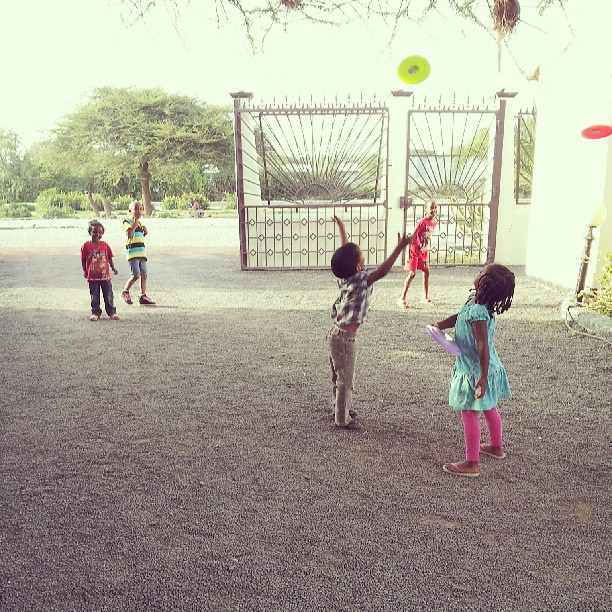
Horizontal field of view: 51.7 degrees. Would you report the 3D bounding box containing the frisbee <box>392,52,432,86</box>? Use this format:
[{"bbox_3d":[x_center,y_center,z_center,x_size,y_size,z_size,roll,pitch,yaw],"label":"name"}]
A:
[{"bbox_3d":[0.990,-2.233,5.850,0.283,0.279,0.325,0,11,2],"label":"frisbee"}]

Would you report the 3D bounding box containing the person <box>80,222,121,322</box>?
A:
[{"bbox_3d":[-2.365,-0.419,7.290,0.394,1.121,0.440,-4,10,-18],"label":"person"}]

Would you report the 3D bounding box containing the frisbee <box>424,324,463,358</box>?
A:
[{"bbox_3d":[0.771,0.175,3.479,0.185,0.222,0.438,2,12,16],"label":"frisbee"}]

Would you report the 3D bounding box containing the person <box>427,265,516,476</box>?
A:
[{"bbox_3d":[0.937,0.320,3.554,0.413,1.129,0.603,3,11,22],"label":"person"}]

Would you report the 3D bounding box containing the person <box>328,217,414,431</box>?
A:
[{"bbox_3d":[0.356,0.197,3.954,0.541,1.173,0.236,8,12,40],"label":"person"}]

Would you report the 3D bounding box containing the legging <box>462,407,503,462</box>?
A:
[{"bbox_3d":[1.032,0.707,3.644,0.069,0.311,0.152,-32,15,-18],"label":"legging"}]
